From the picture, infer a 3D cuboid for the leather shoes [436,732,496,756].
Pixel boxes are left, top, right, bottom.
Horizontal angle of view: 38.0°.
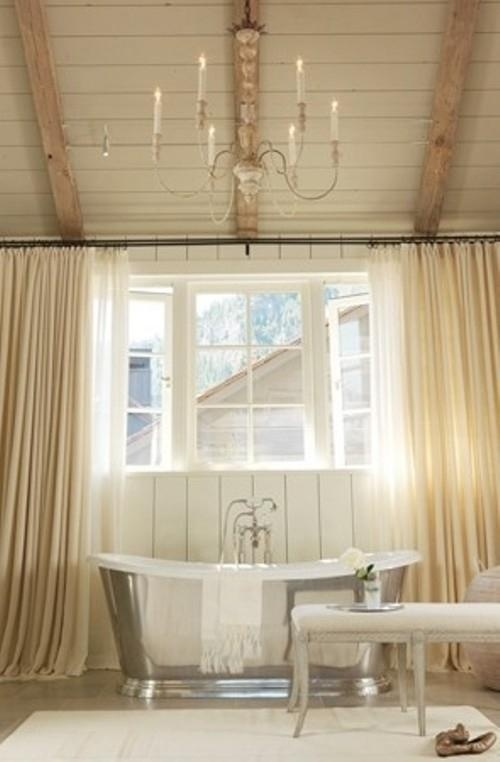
[{"bbox_3d":[0.716,1.207,2.405,0.236,0.044,0.067,3,-8,-26],"label":"leather shoes"}]
